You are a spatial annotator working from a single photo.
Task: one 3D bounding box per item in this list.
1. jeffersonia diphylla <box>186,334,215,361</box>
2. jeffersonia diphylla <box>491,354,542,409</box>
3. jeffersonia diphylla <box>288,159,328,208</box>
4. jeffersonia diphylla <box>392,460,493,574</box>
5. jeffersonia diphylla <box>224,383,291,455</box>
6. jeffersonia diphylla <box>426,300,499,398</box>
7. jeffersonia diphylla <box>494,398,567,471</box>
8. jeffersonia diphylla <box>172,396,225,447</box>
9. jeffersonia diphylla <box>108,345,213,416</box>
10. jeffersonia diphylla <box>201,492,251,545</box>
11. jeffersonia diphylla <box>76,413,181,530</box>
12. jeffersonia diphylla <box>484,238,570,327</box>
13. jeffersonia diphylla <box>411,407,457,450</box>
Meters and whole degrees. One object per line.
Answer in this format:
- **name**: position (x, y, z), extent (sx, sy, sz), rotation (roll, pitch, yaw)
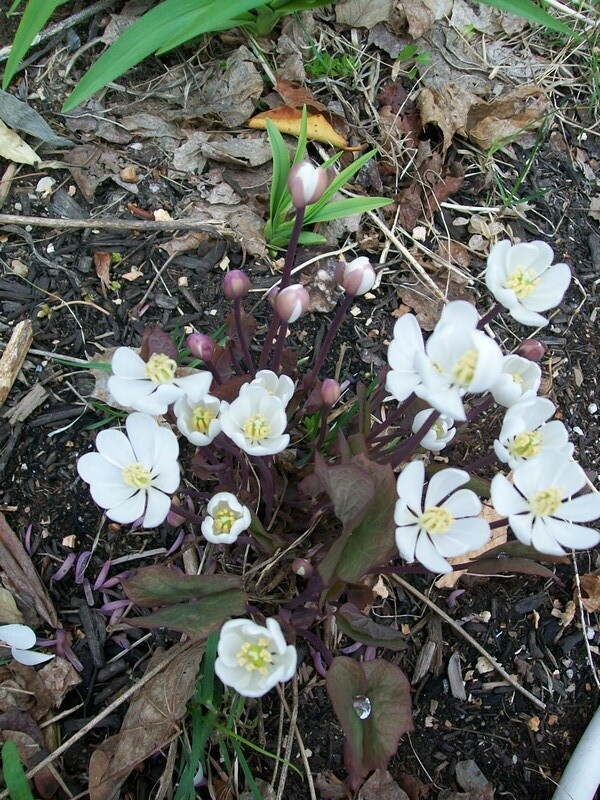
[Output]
- **jeffersonia diphylla**: position (-0.268, -0.139, 1.776), extent (0.052, 0.114, 0.050), rotation (-22, 72, -3)
- **jeffersonia diphylla**: position (0.510, -0.044, 1.567), extent (0.107, 0.120, 0.117), rotation (0, 66, -9)
- **jeffersonia diphylla**: position (0.017, -0.511, 1.580), extent (0.104, 0.111, 0.067), rotation (-23, 68, -22)
- **jeffersonia diphylla**: position (0.276, 0.275, 1.508), extent (0.245, 0.134, 0.259), rotation (19, 77, -19)
- **jeffersonia diphylla**: position (-0.074, 0.062, 1.605), extent (0.182, 0.106, 0.151), rotation (-17, 61, -10)
- **jeffersonia diphylla**: position (0.316, -0.090, 1.295), extent (0.134, 0.175, 0.150), rotation (16, 59, -2)
- **jeffersonia diphylla**: position (0.542, 0.076, 1.564), extent (0.162, 0.127, 0.175), rotation (4, 73, -5)
- **jeffersonia diphylla**: position (-0.243, 0.048, 1.684), extent (0.123, 0.093, 0.133), rotation (-23, 72, -6)
- **jeffersonia diphylla**: position (-0.347, -0.050, 1.626), extent (0.065, 0.141, 0.189), rotation (49, 28, -6)
- **jeffersonia diphylla**: position (-0.186, 0.304, 1.679), extent (0.110, 0.117, 0.115), rotation (13, 59, -4)
- **jeffersonia diphylla**: position (-0.394, 0.165, 1.592), extent (0.278, 0.160, 0.266), rotation (1, 89, 6)
- **jeffersonia diphylla**: position (0.509, -0.248, 1.523), extent (0.204, 0.105, 0.202), rotation (-6, 97, -7)
- **jeffersonia diphylla**: position (0.362, 0.056, 1.823), extent (0.124, 0.092, 0.121), rotation (15, 58, -32)
